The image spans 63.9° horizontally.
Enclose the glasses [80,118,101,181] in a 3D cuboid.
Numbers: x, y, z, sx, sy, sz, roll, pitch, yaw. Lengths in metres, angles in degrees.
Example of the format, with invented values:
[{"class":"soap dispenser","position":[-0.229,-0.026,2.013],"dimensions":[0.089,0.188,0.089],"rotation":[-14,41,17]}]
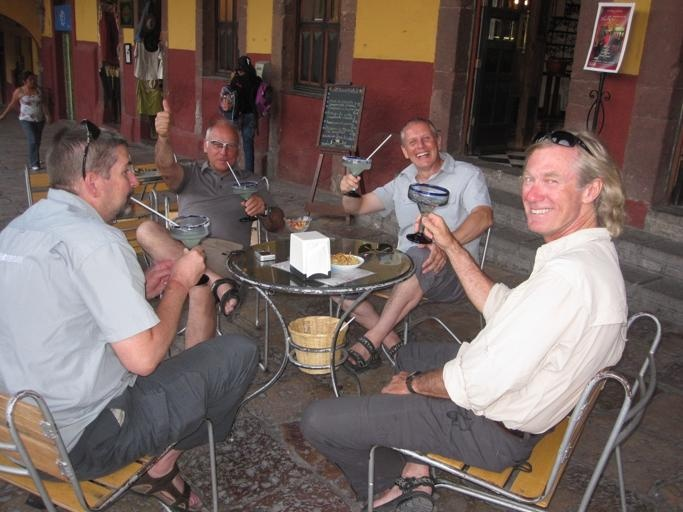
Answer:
[{"class":"glasses","position":[-1.089,-0.457,2.357],"dimensions":[0.066,0.204,0.212],"rotation":[4,14,-34]}]

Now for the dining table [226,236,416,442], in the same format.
[{"class":"dining table","position":[-0.197,0.516,3.578],"dimensions":[1.184,0.808,1.128],"rotation":[-16,27,-39]}]

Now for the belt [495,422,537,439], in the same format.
[{"class":"belt","position":[0.729,0.723,2.254],"dimensions":[0.106,0.024,0.080],"rotation":[7,7,17]}]

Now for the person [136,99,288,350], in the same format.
[{"class":"person","position":[-1.115,-0.319,3.914],"dimensions":[1.111,1.350,1.894],"rotation":[10,23,-14]}]

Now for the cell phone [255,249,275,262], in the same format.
[{"class":"cell phone","position":[-0.476,-0.005,3.394],"dimensions":[0.069,0.033,0.115],"rotation":[-6,15,-23]}]

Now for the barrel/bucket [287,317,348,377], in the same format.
[{"class":"barrel/bucket","position":[-0.156,0.544,3.499],"dimensions":[0.410,0.291,0.407],"rotation":[1,5,0]}]

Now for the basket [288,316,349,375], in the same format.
[{"class":"basket","position":[-0.138,0.544,3.579],"dimensions":[0.411,0.291,0.407],"rotation":[1,5,-2]}]

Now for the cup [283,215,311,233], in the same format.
[{"class":"cup","position":[-0.263,-0.190,3.495],"dimensions":[0.128,0.065,0.122],"rotation":[-2,10,0]}]

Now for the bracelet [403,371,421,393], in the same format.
[{"class":"bracelet","position":[0.325,0.574,2.471],"dimensions":[0.065,0.030,0.086],"rotation":[-6,48,29]}]
